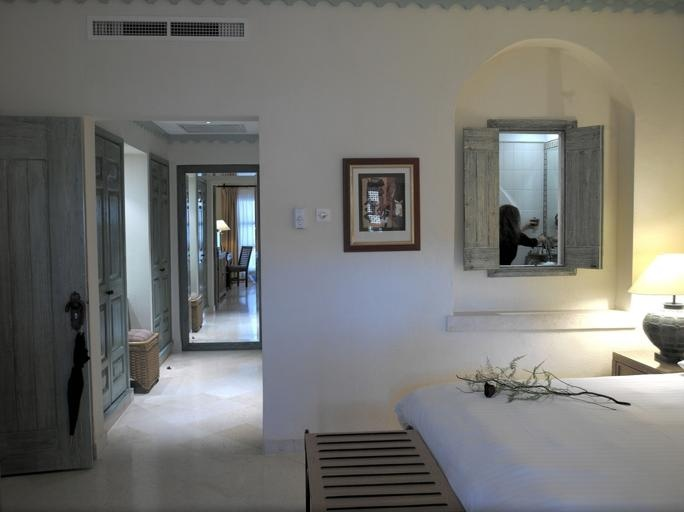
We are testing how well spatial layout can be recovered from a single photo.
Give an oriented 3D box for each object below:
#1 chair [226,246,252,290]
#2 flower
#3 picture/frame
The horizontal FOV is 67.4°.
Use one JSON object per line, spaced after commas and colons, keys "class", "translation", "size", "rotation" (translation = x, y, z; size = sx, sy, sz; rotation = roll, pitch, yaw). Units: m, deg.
{"class": "chair", "translation": [-2.010, 0.217, 10.128], "size": [0.460, 0.734, 0.480], "rotation": [14, -10, -38]}
{"class": "flower", "translation": [1.250, 0.802, 3.321], "size": [0.804, 0.405, 0.256], "rotation": [3, 47, 17]}
{"class": "picture/frame", "translation": [0.286, -0.425, 4.049], "size": [0.662, 0.838, 0.058], "rotation": [-1, 4, -1]}
